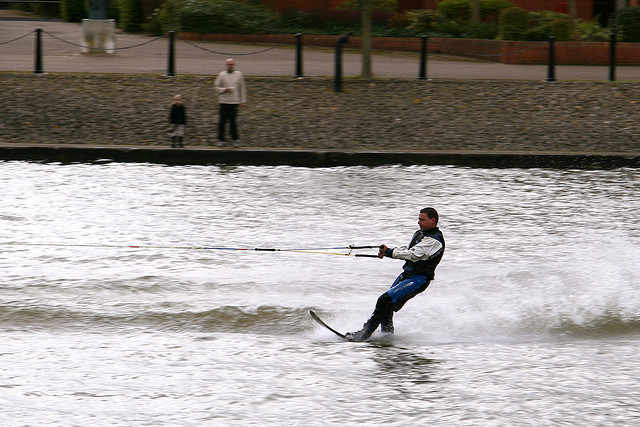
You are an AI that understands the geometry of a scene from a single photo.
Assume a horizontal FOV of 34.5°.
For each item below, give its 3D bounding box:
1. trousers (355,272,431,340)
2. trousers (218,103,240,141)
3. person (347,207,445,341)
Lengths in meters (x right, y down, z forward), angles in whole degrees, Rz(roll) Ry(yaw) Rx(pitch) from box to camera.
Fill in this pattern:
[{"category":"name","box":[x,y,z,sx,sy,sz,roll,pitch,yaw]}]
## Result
[{"category":"trousers","box":[1.093,1.415,15.206,0.602,1.674,0.437,45,30,-26]},{"category":"trousers","box":[-2.097,-2.149,24.063,0.487,0.889,0.649,4,11,-5]},{"category":"person","box":[1.161,0.877,14.745,0.729,1.927,0.951,14,15,35]}]
